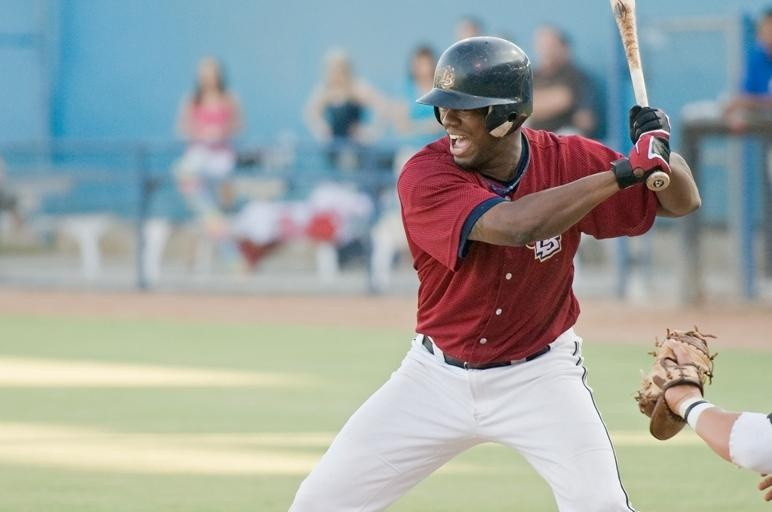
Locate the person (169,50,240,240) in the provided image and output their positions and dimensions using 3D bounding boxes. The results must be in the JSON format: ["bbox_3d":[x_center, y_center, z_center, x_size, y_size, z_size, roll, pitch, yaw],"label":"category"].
[{"bbox_3d":[-1.905,-1.206,17.129,0.730,1.823,0.676,12,19,41],"label":"person"}]
